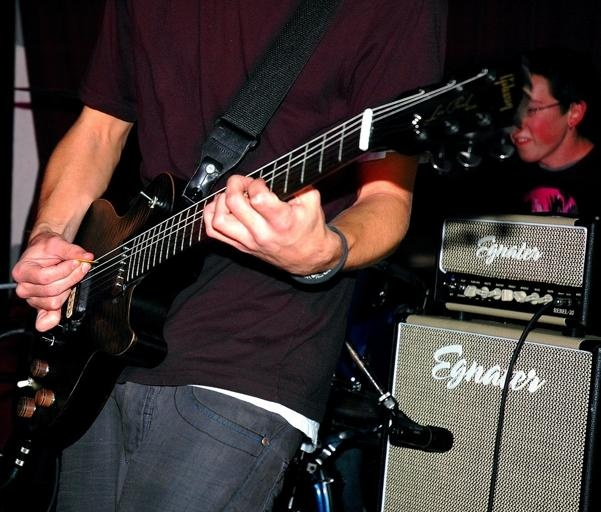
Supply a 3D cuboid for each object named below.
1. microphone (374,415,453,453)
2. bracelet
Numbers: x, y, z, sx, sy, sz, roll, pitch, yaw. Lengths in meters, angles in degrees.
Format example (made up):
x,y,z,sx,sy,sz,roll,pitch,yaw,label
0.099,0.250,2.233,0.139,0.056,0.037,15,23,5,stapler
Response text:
x,y,z,sx,sy,sz,roll,pitch,yaw,label
0.307,0.450,1.554,0.186,0.081,0.072,13,-7,-18,microphone
0.025,0.003,1.108,0.026,0.109,0.101,37,-36,-23,bracelet
